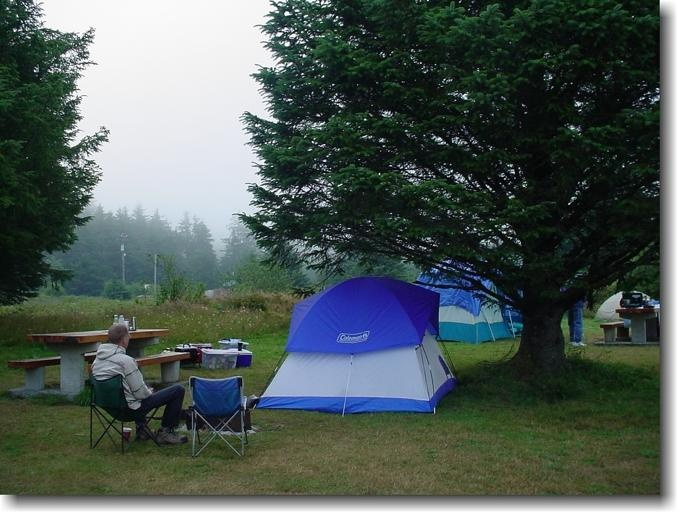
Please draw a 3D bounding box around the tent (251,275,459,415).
[{"bbox_3d":[0.473,1.836,14.300,3.648,1.727,3.082,-2,-2,15],"label":"tent"}]

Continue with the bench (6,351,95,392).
[{"bbox_3d":[-6.725,2.670,15.141,0.622,0.490,1.749,-13,-7,-3],"label":"bench"}]

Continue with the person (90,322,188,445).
[{"bbox_3d":[-3.414,2.253,11.482,1.522,2.117,0.513,0,11,-6],"label":"person"}]

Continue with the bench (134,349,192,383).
[{"bbox_3d":[-4.087,2.573,15.528,0.850,0.537,1.302,1,-5,-9],"label":"bench"}]

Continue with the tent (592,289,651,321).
[{"bbox_3d":[8.820,1.524,20.616,2.335,0.799,1.945,-2,-2,-19],"label":"tent"}]

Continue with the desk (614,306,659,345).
[{"bbox_3d":[9.319,2.053,20.608,1.065,1.263,1.816,6,11,30],"label":"desk"}]
